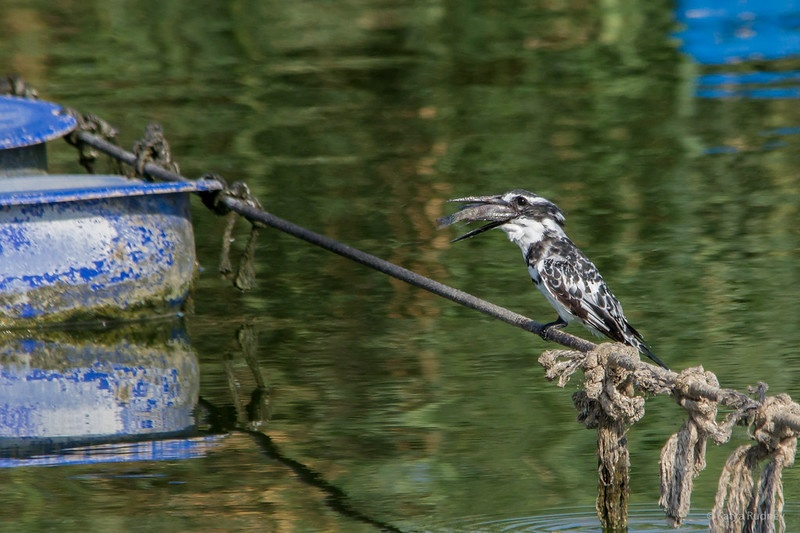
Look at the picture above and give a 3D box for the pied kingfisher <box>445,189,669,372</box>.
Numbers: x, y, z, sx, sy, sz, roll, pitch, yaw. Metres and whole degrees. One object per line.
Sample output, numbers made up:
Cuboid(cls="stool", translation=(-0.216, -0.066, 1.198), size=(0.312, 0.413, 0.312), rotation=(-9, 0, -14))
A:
Cuboid(cls="pied kingfisher", translation=(1.325, 0.026, 12.992), size=(1.466, 1.383, 0.365), rotation=(-2, -13, 2))
